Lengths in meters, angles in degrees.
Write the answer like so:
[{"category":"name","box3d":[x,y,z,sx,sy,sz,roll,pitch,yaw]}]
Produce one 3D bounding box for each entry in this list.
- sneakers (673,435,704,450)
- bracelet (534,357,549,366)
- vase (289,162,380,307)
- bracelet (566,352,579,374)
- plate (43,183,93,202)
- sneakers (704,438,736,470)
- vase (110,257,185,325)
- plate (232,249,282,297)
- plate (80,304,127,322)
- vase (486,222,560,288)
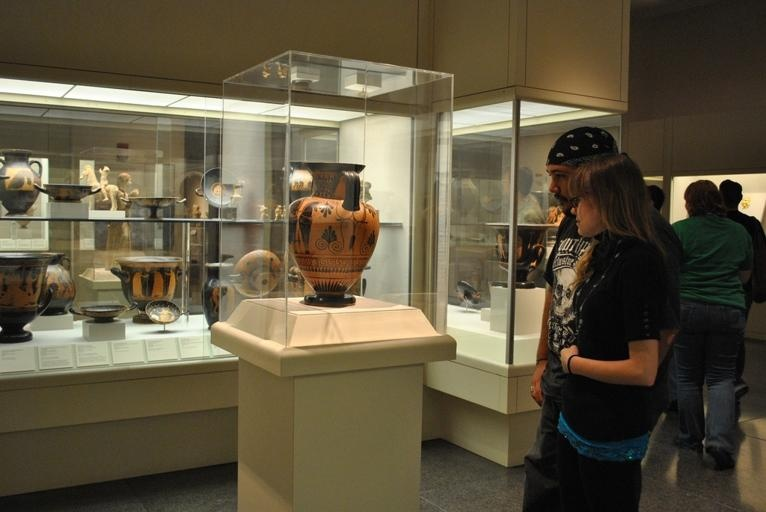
[{"category":"sneakers","box3d":[2.334,1.447,4.524,0.084,0.091,0.196,-4,11,-25]},{"category":"bracelet","box3d":[0.880,0.589,3.259,0.059,0.058,0.047,0,4,12]},{"category":"vase","box3d":[-0.217,-0.096,2.602,0.425,0.604,0.494,1,2,-33]},{"category":"bracelet","box3d":[0.838,0.486,2.662,0.017,0.075,0.074,7,8,12]},{"category":"plate","box3d":[-2.040,-0.410,3.810,0.329,0.114,0.064,-7,9,-32]},{"category":"sneakers","box3d":[2.448,1.429,4.286,0.195,0.185,0.287,3,10,30]},{"category":"vase","box3d":[-1.677,0.257,4.173,0.542,0.460,0.402,0,3,-40]},{"category":"plate","box3d":[-0.592,0.038,2.687,0.226,0.152,0.194,8,7,14]},{"category":"plate","box3d":[-1.875,0.385,3.933,0.293,0.108,0.150,-6,9,-27]},{"category":"vase","box3d":[0.955,-0.012,4.121,0.442,0.331,0.431,1,1,18]}]
